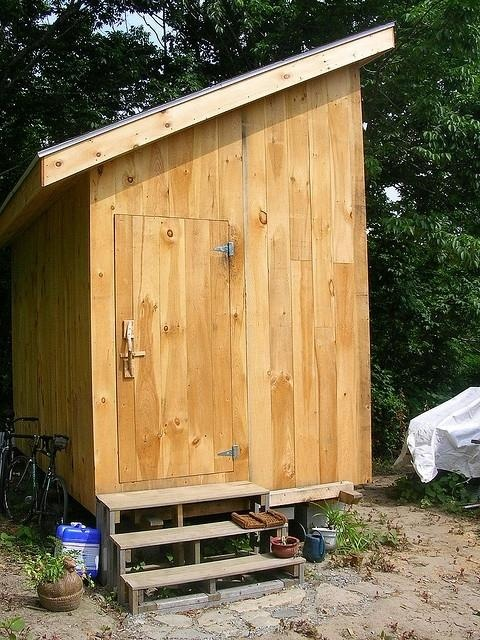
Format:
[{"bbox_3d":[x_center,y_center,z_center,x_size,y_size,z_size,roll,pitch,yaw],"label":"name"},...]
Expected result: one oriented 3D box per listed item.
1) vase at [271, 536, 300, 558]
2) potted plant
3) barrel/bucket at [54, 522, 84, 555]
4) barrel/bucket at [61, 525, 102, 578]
[{"bbox_3d":[0.318,1.635,5.021,0.189,0.133,0.177,4,-1,-7],"label":"vase"},{"bbox_3d":[-1.150,1.572,4.304,0.399,0.407,0.300,4,0,-41],"label":"potted plant"},{"bbox_3d":[-1.183,1.495,4.810,0.179,0.176,0.184,2,-2,0],"label":"barrel/bucket"},{"bbox_3d":[-1.101,1.577,4.875,0.265,0.354,0.195,5,0,-8],"label":"barrel/bucket"}]
